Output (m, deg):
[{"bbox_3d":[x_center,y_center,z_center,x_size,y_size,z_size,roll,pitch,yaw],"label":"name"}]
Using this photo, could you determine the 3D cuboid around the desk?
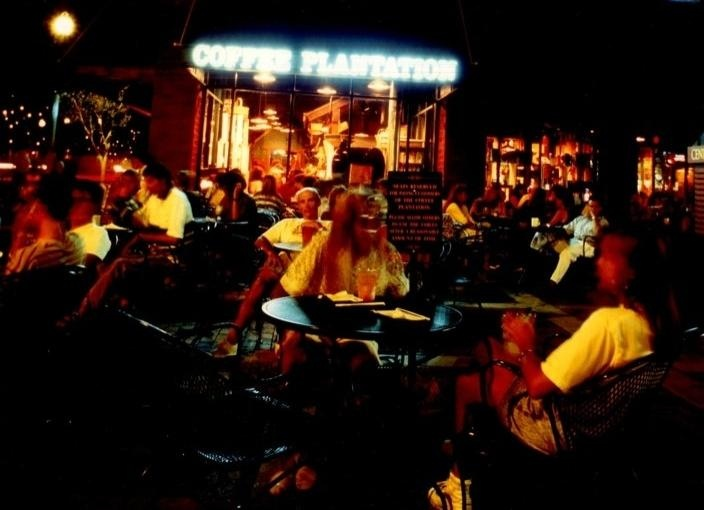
[{"bbox_3d":[0.095,0.795,5.092,1.770,0.703,0.843,4,6,5],"label":"desk"}]

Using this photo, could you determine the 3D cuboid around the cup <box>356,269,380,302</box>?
[{"bbox_3d":[0.133,0.280,5.216,0.217,0.272,0.235,1,-2,0],"label":"cup"}]

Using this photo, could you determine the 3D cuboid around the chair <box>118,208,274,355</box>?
[{"bbox_3d":[-1.878,0.005,8.490,1.578,2.345,1.752,4,-12,13],"label":"chair"}]
